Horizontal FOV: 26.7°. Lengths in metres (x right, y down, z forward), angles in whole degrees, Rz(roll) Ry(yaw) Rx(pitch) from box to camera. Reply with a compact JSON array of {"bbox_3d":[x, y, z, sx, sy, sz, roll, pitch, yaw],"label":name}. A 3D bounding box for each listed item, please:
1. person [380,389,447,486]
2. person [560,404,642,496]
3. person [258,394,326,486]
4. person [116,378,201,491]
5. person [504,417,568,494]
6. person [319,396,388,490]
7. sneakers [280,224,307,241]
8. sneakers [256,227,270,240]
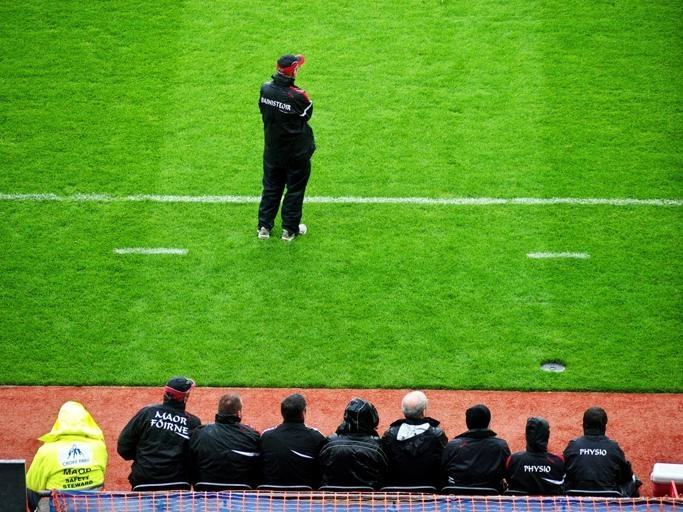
[{"bbox_3d":[0.894,2.171,16.647,0.910,1.182,0.809,2,17,4],"label":"person"},{"bbox_3d":[2.993,2.479,16.677,1.069,1.286,1.033,3,2,4],"label":"person"},{"bbox_3d":[-0.567,2.126,16.709,0.938,1.138,0.992,2,11,-1],"label":"person"},{"bbox_3d":[-2.116,2.139,16.779,0.890,1.519,0.969,15,31,-5],"label":"person"},{"bbox_3d":[2.220,2.310,16.419,0.740,0.915,0.641,1,-1,2],"label":"person"},{"bbox_3d":[0.169,2.206,16.581,0.886,1.054,0.781,5,-2,-9],"label":"person"},{"bbox_3d":[-0.614,-0.319,20.136,0.172,0.174,0.420,21,35,30],"label":"sneakers"},{"bbox_3d":[-1.072,-0.314,20.070,0.187,0.142,0.372,2,2,-10],"label":"sneakers"}]
